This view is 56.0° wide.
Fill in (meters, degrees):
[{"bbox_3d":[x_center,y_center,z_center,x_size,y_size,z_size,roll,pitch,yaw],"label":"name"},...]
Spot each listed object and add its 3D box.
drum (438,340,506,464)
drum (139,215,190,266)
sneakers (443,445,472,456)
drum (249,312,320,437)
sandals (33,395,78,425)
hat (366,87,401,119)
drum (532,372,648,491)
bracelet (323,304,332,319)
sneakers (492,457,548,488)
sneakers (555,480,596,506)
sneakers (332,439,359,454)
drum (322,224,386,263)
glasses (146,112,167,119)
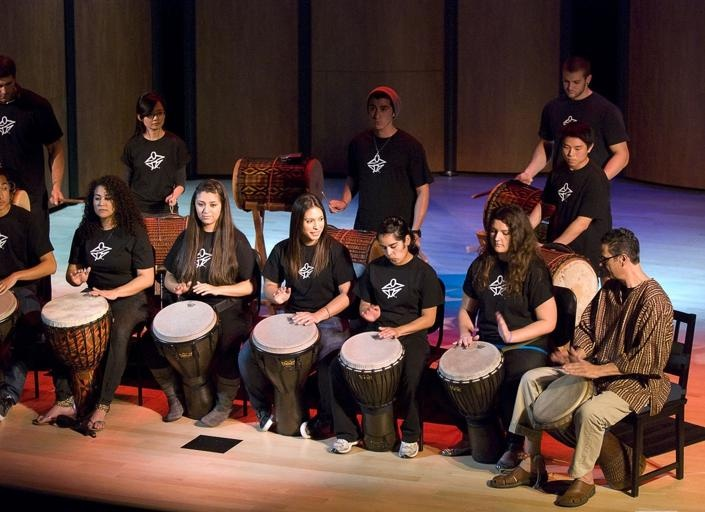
[{"bbox_3d":[0.680,0.820,3.729,0.413,0.624,0.374,13,36,38],"label":"drum"},{"bbox_3d":[-1.391,-0.137,5.015,0.338,0.502,0.348,2,14,-1],"label":"drum"},{"bbox_3d":[0.606,1.132,3.889,0.170,0.054,0.062,2,0,4],"label":"sneakers"},{"bbox_3d":[-0.423,0.735,4.070,0.455,0.705,0.498,1,31,0],"label":"drum"},{"bbox_3d":[-1.877,1.002,4.288,0.325,0.147,0.129,-2,4,-43],"label":"sandals"},{"bbox_3d":[0.256,-1.231,5.307,0.224,0.231,0.648,0,15,4],"label":"hat"},{"bbox_3d":[1.239,0.860,3.407,0.501,0.584,0.460,17,8,-3],"label":"drum"},{"bbox_3d":[-0.166,0.357,4.201,0.032,0.074,0.053,-14,0,-4],"label":"bracelet"},{"bbox_3d":[0.886,1.162,3.555,0.296,0.157,0.141,0,0,-3],"label":"sneakers"},{"bbox_3d":[1.115,1.176,3.342,0.095,0.097,0.219,-1,4,41],"label":"sneakers"},{"bbox_3d":[-0.058,1.125,3.927,0.074,0.061,0.147,-3,-6,38],"label":"sneakers"},{"bbox_3d":[0.013,-0.170,4.501,0.299,0.313,0.231,15,19,22],"label":"drum"},{"bbox_3d":[-1.669,-1.190,5.588,0.119,0.040,0.123,-15,20,-32],"label":"glasses"}]
